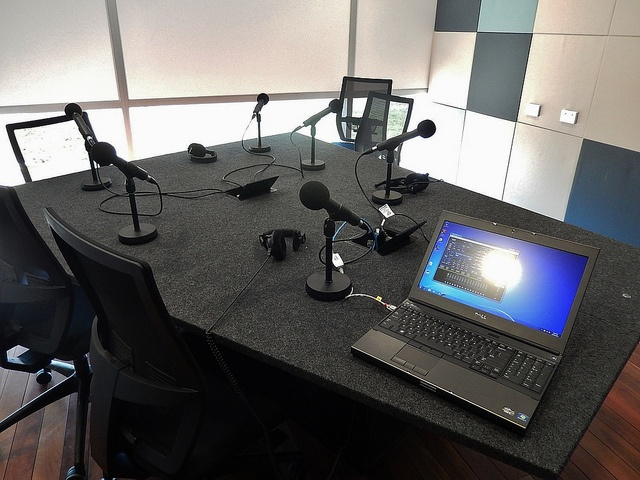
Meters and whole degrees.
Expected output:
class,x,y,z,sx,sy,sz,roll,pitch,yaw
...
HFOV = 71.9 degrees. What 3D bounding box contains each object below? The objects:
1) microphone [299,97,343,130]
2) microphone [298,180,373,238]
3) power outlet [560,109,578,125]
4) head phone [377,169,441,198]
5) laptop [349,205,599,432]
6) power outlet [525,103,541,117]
class,x,y,z,sx,sy,sz,roll,pitch,yaw
microphone,0.027,-0.873,3.007,0.234,0.220,0.472,5,32,5
microphone,0.096,-0.089,1.710,0.384,0.105,0.112,28,36,-23
power outlet,2.178,-1.074,3.848,0.040,0.108,0.123,-15,31,-26
head phone,0.521,-0.337,2.635,0.296,0.092,0.143,-8,26,-11
laptop,0.507,0.204,1.427,0.546,0.329,0.594,23,38,31
power outlet,1.997,-1.208,4.137,0.030,0.120,0.129,-3,18,-37
